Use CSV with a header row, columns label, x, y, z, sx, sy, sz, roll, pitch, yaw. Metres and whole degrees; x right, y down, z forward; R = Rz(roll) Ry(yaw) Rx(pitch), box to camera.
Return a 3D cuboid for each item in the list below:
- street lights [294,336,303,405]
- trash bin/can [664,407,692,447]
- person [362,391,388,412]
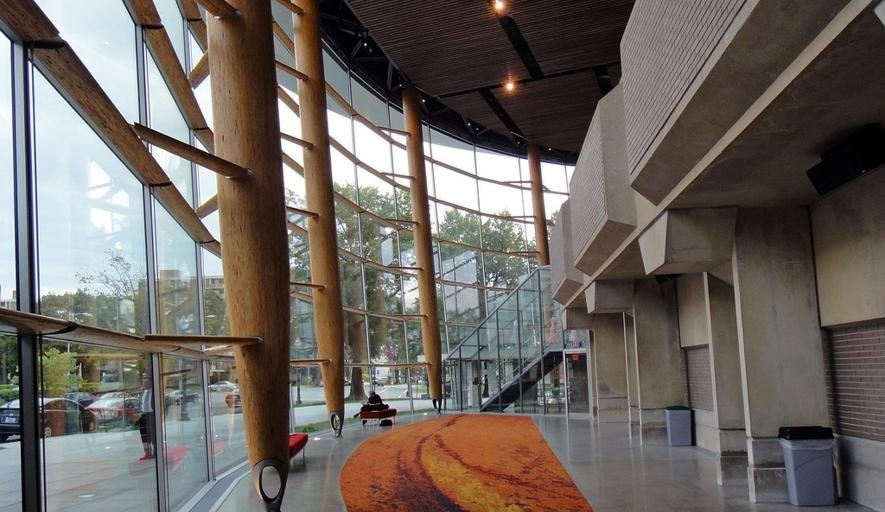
label,x,y,z,sx,sy,sz,roll,pitch,yaw
street lights,-4.897,3.877,21.170,0.221,2.201,0.563,0,-15,-11
trash bin/can,6.694,4.805,17.629,0.721,1.097,0.357,-7,-16,15
person,-2.528,5.480,23.120,0.629,0.604,0.891,-8,-25,16
